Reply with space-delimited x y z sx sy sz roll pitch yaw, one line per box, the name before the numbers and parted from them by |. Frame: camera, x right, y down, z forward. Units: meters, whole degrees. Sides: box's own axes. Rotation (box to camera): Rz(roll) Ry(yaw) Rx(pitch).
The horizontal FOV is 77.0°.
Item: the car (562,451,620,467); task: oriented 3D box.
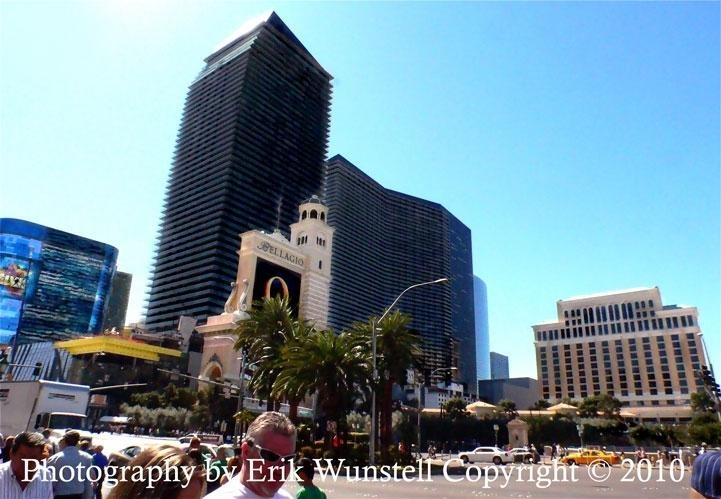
car | 20.834 18.782 41.321 3.740 1.292 6.589 -18 -30 38
